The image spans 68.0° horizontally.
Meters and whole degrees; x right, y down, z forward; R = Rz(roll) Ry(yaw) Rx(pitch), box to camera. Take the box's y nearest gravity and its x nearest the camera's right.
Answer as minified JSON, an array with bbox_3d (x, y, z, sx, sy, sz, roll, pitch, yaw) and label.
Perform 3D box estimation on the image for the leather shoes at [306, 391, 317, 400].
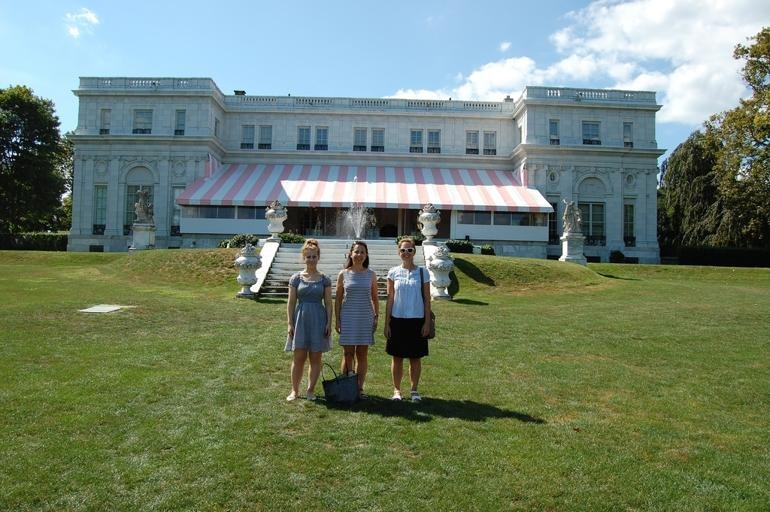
[{"bbox_3d":[-1.275,2.415,9.879,0.103,0.129,0.192,2,-14,-8],"label":"leather shoes"}]

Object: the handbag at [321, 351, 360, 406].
[{"bbox_3d":[-0.835,2.328,9.976,0.675,0.644,0.412,5,-15,-27],"label":"handbag"}]

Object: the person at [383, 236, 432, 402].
[{"bbox_3d":[0.417,1.100,9.867,0.818,2.779,0.416,2,0,-1],"label":"person"}]

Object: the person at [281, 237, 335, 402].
[{"bbox_3d":[-1.322,1.093,9.940,0.766,2.694,0.639,2,0,-9],"label":"person"}]
